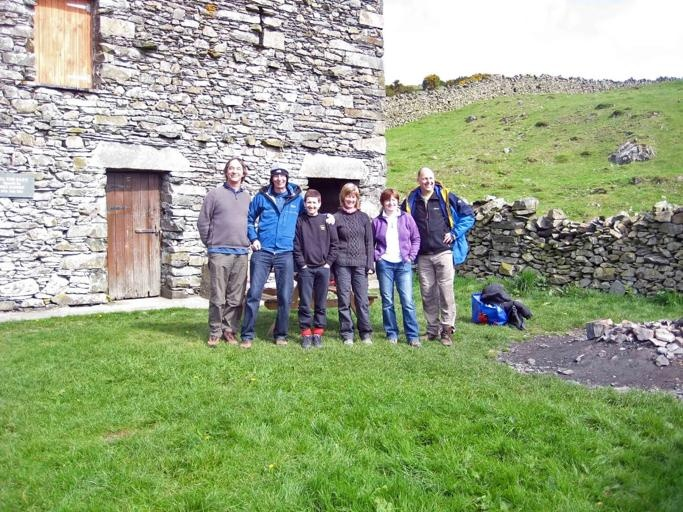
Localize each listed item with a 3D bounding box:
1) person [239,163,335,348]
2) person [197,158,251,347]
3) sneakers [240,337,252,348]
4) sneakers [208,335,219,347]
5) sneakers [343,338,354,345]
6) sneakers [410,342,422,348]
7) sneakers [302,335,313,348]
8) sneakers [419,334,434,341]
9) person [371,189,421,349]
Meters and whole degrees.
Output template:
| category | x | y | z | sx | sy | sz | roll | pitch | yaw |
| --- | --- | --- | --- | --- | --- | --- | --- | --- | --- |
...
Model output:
| category | x | y | z | sx | sy | sz | roll | pitch | yaw |
| --- | --- | --- | --- | --- | --- | --- | --- | --- | --- |
| person | -0.945 | -0.007 | 7.714 | 0.881 | 2.393 | 0.759 | -1 | 9 | -14 |
| person | -1.595 | -0.079 | 7.630 | 0.561 | 2.465 | 0.805 | 5 | 9 | 23 |
| sneakers | -1.271 | 1.153 | 7.482 | 0.151 | 0.091 | 0.229 | 0 | 9 | -13 |
| sneakers | -1.706 | 1.117 | 7.502 | 0.158 | 0.105 | 0.254 | -1 | 9 | -14 |
| sneakers | 0.099 | 1.181 | 7.774 | 0.141 | 0.069 | 0.208 | 1 | 8 | -2 |
| sneakers | 1.017 | 1.221 | 7.787 | 0.160 | 0.055 | 0.251 | 3 | 8 | 8 |
| sneakers | -0.464 | 1.171 | 7.665 | 0.108 | 0.111 | 0.277 | -1 | -8 | -2 |
| sneakers | 1.252 | 1.188 | 8.227 | 0.223 | 0.088 | 0.075 | 18 | -1 | -21 |
| person | 0.786 | 0.143 | 7.989 | 0.729 | 2.157 | 0.648 | 3 | 8 | 8 |
